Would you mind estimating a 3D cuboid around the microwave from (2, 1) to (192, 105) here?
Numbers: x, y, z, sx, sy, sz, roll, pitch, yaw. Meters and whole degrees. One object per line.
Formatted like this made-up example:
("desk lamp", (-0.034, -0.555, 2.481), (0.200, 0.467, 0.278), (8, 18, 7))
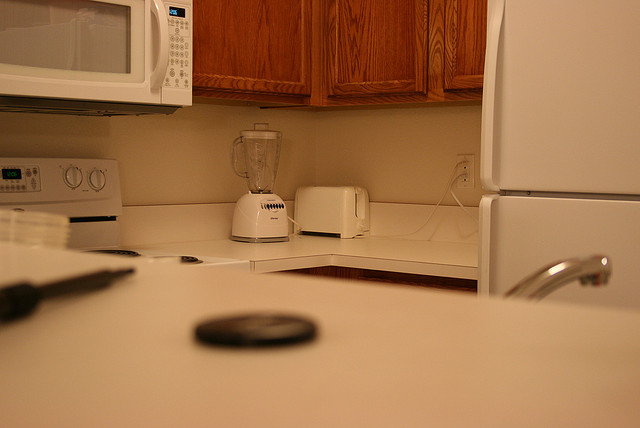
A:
("microwave", (-0.853, -0.593, 1.640), (0.486, 0.364, 0.690), (13, 15, 41))
